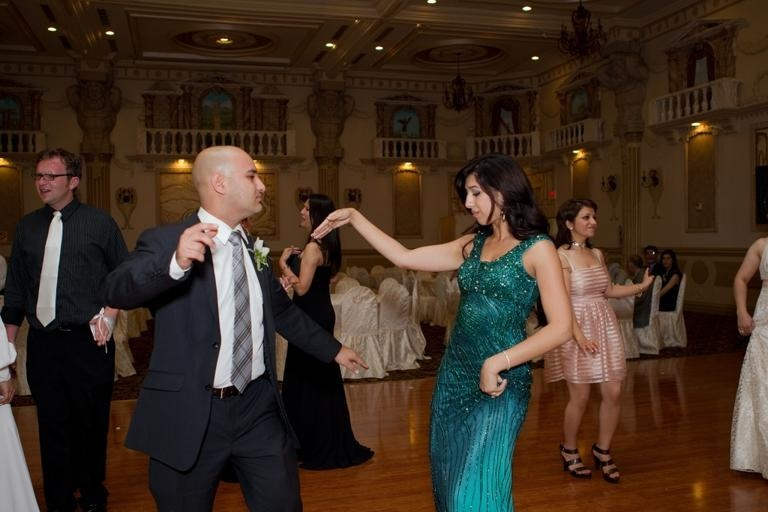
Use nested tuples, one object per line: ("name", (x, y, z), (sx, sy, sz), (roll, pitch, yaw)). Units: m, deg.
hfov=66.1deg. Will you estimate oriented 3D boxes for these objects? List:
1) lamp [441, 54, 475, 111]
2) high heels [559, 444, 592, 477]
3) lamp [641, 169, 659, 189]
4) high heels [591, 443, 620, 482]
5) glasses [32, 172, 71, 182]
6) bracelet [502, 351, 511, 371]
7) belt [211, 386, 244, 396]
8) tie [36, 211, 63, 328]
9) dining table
("lamp", (2.012, -4.417, 15.479), (0.825, 1.574, 3.369), (0, 6, 8))
("high heels", (1.597, 1.731, 4.973), (0.123, 0.206, 0.367), (-3, -7, -18))
("lamp", (6.042, -1.677, 13.344), (0.299, 0.503, 0.464), (1, -2, -15))
("high heels", (1.831, 1.696, 4.846), (0.120, 0.194, 0.363), (-2, 7, -10))
("glasses", (-2.312, -0.553, 4.111), (0.119, 0.039, 0.119), (2, -2, -41))
("bracelet", (0.672, 0.573, 3.183), (0.018, 0.076, 0.075), (-9, -8, 4))
("belt", (-0.849, 0.738, 3.198), (0.150, 0.061, 0.012), (-2, 6, -16))
("tie", (-2.322, 0.085, 4.095), (0.133, 0.780, 0.184), (0, 6, 2))
("dining table", (-4.020, 1.091, 8.290), (1.324, 1.736, 1.195), (-6, -18, 1))
